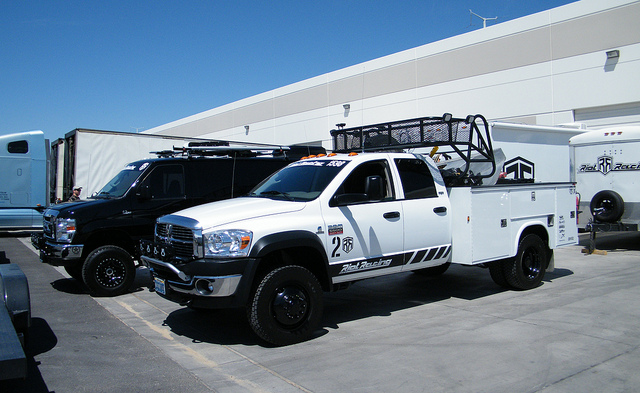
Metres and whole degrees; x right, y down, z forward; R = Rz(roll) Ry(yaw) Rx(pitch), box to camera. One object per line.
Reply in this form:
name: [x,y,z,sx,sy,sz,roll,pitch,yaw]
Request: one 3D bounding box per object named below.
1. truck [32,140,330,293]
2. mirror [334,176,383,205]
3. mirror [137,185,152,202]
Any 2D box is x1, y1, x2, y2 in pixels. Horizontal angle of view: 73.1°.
truck: [-3.086,0.107,11.757,7.407,3.284,3.587,-1,-1,-32]
mirror: [0.713,-0.115,8.050,0.760,0.407,0.524,-3,0,16]
mirror: [-4.103,-0.087,10.130,0.390,0.332,0.267,3,0,-7]
